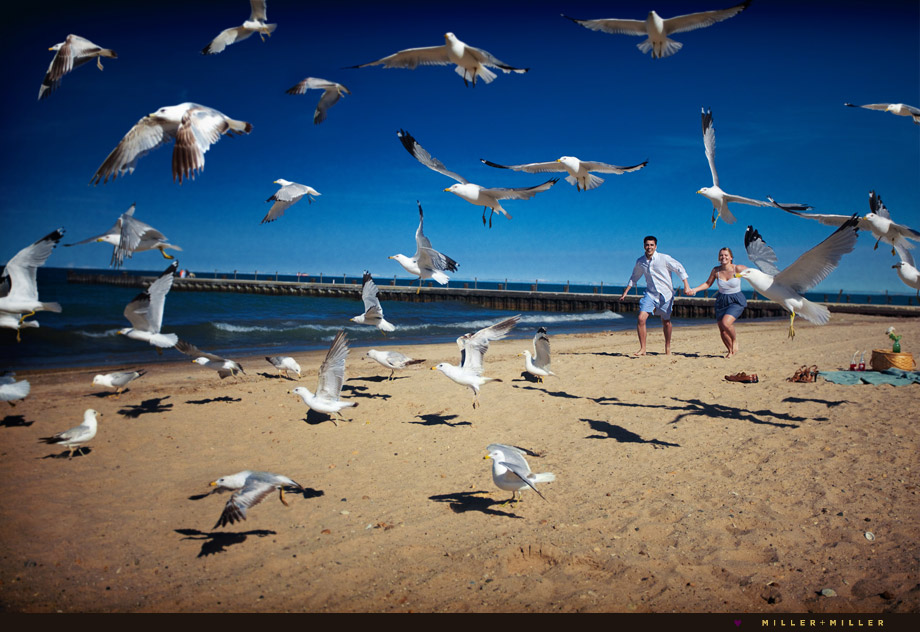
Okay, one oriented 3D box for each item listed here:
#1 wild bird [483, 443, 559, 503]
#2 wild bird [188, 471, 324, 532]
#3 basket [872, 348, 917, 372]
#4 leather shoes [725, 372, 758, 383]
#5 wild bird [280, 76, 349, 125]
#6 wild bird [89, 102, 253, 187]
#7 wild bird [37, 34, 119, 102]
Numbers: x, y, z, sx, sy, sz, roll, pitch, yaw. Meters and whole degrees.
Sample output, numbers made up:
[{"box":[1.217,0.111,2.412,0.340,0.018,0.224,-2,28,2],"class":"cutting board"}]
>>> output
[{"box":[0.599,1.746,6.710,0.853,0.440,1.075,-9,-2,0],"class":"wild bird"},{"box":[-2.420,2.227,6.721,1.057,0.223,0.944,-2,5,0],"class":"wild bird"},{"box":[7.491,0.785,10.253,0.650,0.352,0.421,4,9,39],"class":"basket"},{"box":[4.958,1.097,10.405,0.404,0.134,0.238,1,-2,44],"class":"leather shoes"},{"box":[-2.447,-3.658,10.295,0.849,0.655,1.192,-2,6,-2],"class":"wild bird"},{"box":[-3.075,-1.859,6.402,1.428,0.976,0.964,3,8,31],"class":"wild bird"},{"box":[-4.845,-3.159,7.524,0.688,0.702,0.535,1,8,17],"class":"wild bird"}]
